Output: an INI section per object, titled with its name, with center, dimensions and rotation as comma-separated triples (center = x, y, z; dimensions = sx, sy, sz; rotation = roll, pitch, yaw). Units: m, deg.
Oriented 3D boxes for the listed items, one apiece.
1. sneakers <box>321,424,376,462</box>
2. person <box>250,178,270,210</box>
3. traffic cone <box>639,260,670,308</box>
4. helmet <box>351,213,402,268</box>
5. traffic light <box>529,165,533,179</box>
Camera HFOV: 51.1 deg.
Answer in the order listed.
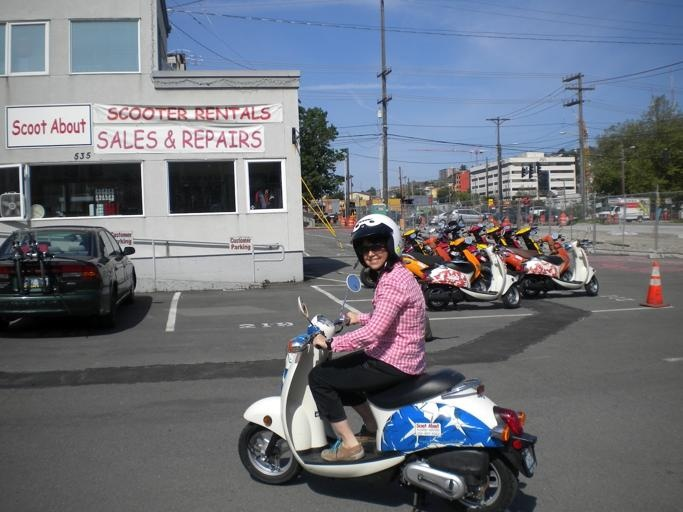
[sneakers]
center = 0.087, 1.754, 6.724
dimensions = 0.562, 0.303, 0.217
rotation = -7, -2, 6
[person]
center = -2.261, -1.651, 20.065
dimensions = 0.446, 0.621, 0.792
rotation = -2, -1, -9
[traffic cone]
center = 7.423, 0.704, 16.957
dimensions = 0.677, 1.050, 0.693
rotation = -7, 10, -18
[helmet]
center = 0.359, -0.160, 6.794
dimensions = 0.381, 0.425, 0.508
rotation = -2, 13, 20
[traffic light]
center = 13.876, -6.078, 52.236
dimensions = 0.243, 1.083, 1.251
rotation = 2, 9, 15
